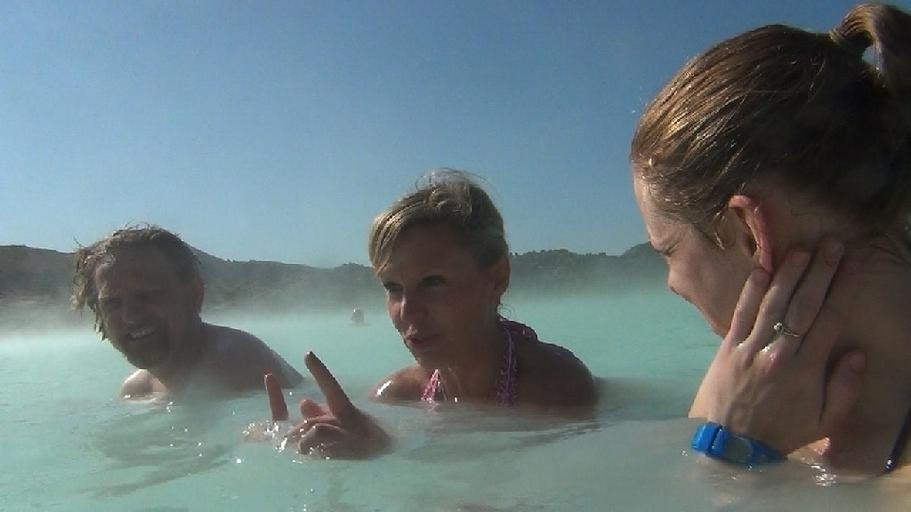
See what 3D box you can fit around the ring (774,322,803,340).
[{"bbox_3d":[1.676,0.378,3.267,0.112,0.059,0.032,30,-9,-8],"label":"ring"}]
